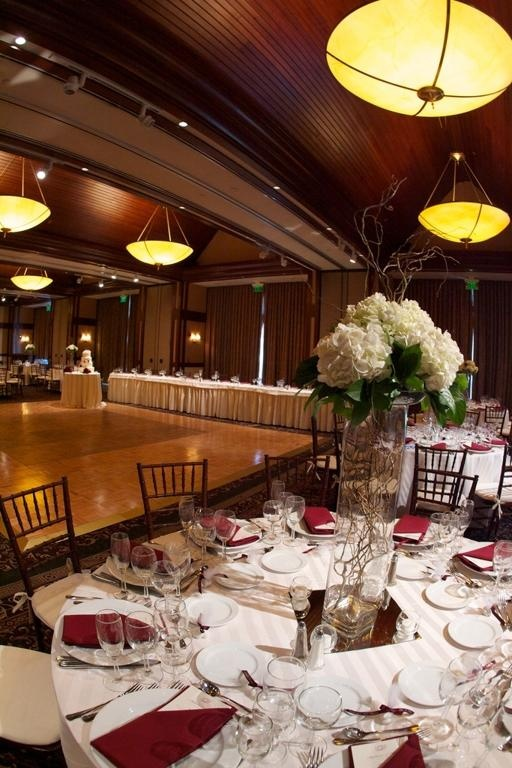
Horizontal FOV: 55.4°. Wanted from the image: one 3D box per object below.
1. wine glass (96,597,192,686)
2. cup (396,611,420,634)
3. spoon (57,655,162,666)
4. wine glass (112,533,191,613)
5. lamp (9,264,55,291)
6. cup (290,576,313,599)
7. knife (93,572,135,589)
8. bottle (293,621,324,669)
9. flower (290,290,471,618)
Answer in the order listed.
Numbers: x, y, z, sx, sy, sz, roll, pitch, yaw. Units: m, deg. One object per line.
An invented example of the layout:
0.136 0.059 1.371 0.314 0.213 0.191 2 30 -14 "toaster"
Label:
-0.261 0.608 1.150 0.142 0.237 0.163 3 -22 -8 "wine glass"
0.403 0.641 1.307 0.047 0.053 0.047 6 -4 0 "cup"
-0.344 0.633 1.115 0.179 0.016 0.046 4 -14 -11 "spoon"
-0.310 0.542 1.455 0.175 0.066 0.236 14 -4 -36 "wine glass"
-6.475 -3.108 14.062 0.983 0.783 1.082 7 7 -1 "lamp"
0.130 0.594 1.426 0.053 0.060 0.051 7 -20 2 "cup"
-0.435 0.609 1.508 0.132 0.016 0.024 14 27 29 "knife"
0.120 0.610 1.133 0.061 0.102 0.033 -15 50 -19 "bottle"
0.309 0.204 1.285 0.375 0.781 0.398 15 -10 -35 "flower"
